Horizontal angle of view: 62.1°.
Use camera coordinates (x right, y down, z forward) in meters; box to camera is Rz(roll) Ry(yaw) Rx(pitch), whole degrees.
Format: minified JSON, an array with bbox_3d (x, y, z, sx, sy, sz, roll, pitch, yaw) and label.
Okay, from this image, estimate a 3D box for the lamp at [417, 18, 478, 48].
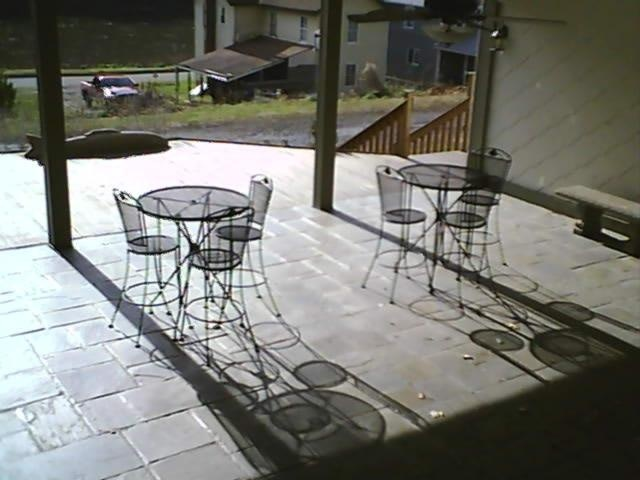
[{"bbox_3d":[1.066,-1.696,4.389,0.349,0.150,0.346,-5,15,-25],"label":"lamp"}]
